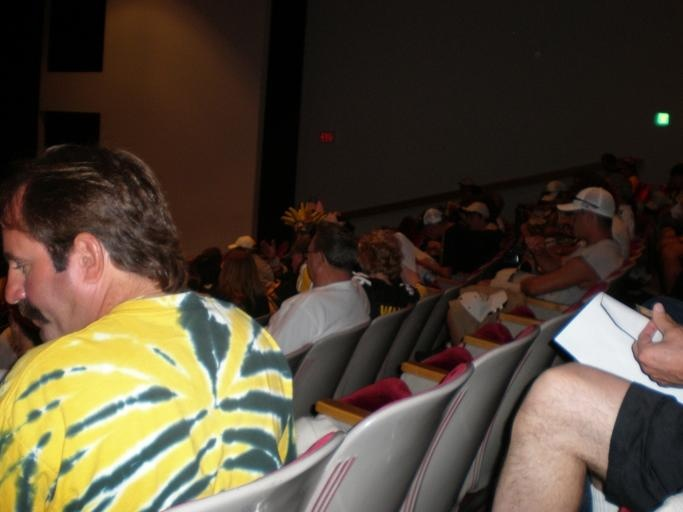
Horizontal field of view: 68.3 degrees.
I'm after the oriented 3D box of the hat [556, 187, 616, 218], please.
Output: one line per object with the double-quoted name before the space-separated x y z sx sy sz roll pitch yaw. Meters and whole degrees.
"hat" 1.835 -0.399 3.782 0.356 0.198 0.241 18 14 34
